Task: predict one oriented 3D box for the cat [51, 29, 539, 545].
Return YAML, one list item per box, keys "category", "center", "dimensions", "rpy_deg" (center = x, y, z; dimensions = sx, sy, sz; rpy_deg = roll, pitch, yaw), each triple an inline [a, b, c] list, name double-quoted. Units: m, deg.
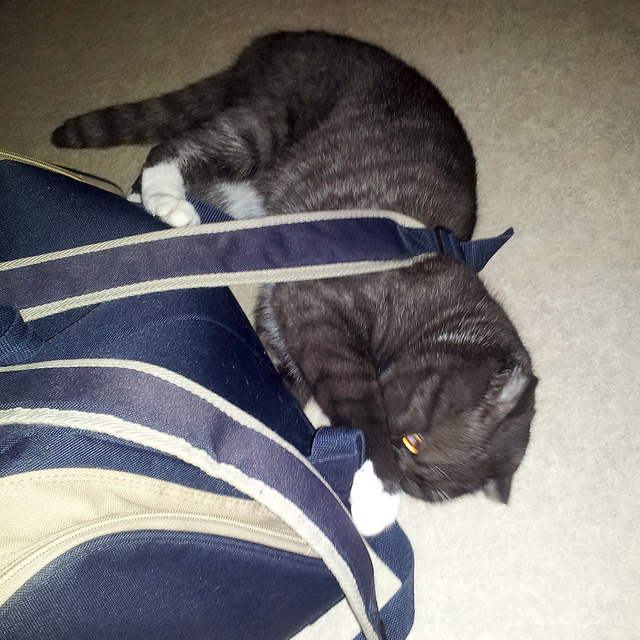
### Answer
- category: "cat"
  center: [0.070, -0.079, 1.384]
  dimensions: [0.596, 0.281, 0.889]
  rpy_deg: [6, 70, -14]
